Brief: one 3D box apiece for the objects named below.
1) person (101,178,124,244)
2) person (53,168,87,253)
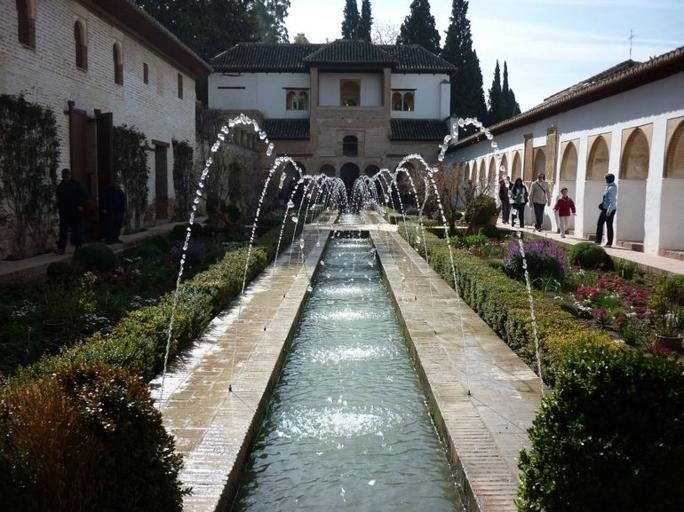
[{"bbox_3d":[-5.475,-1.070,12.455,0.440,1.495,0.560,-2,7,-30],"label":"person"},{"bbox_3d":[-5.499,-0.913,10.513,0.482,1.692,0.801,-2,7,-30],"label":"person"}]
